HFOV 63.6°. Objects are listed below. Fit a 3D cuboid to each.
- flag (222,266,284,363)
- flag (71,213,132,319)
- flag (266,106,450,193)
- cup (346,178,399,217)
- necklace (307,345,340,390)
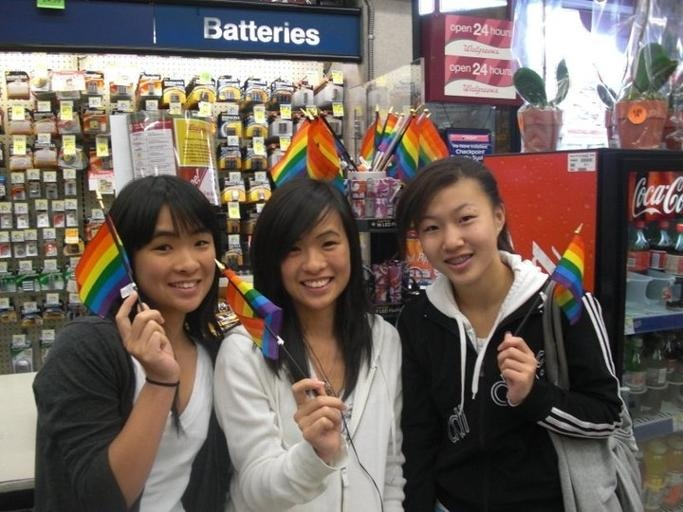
[{"bbox_3d":[-0.317,0.194,1.985,0.147,0.050,0.397,-18,55,-40],"label":"flag"},{"bbox_3d":[-0.817,0.021,1.902,0.194,0.409,0.012,-12,36,-39],"label":"flag"},{"bbox_3d":[0.109,-0.577,3.033,0.658,0.446,0.684,-3,3,-12],"label":"flag"},{"bbox_3d":[0.190,-0.306,3.056,0.325,0.254,0.187,0,1,-4],"label":"cup"},{"bbox_3d":[-0.081,0.450,2.155,0.035,0.247,0.078,-34,-13,18],"label":"necklace"}]
